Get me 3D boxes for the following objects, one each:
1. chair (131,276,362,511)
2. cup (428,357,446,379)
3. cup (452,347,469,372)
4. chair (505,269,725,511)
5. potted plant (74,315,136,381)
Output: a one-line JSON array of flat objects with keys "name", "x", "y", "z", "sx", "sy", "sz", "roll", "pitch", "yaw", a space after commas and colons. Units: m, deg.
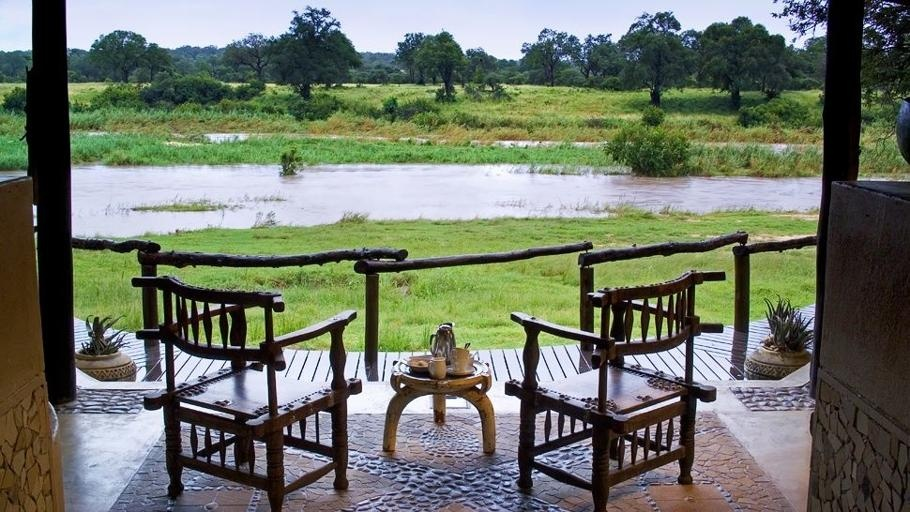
[{"name": "chair", "x": -1.652, "y": 1.055, "z": 6.300, "sx": 1.551, "sy": 1.875, "sz": 0.861, "roll": 1, "pitch": 10, "yaw": 15}, {"name": "cup", "x": -0.148, "y": 0.959, "z": 6.660, "sx": 0.188, "sy": 0.161, "sz": 0.133, "roll": 0, "pitch": 3, "yaw": 0}, {"name": "cup", "x": 0.064, "y": 0.909, "z": 6.809, "sx": 0.151, "sy": 0.160, "sz": 0.207, "roll": -1, "pitch": -3, "yaw": 1}, {"name": "chair", "x": 1.337, "y": 1.049, "z": 6.413, "sx": 1.448, "sy": 1.847, "sz": 1.095, "roll": 3, "pitch": 11, "yaw": 26}, {"name": "potted plant", "x": -3.784, "y": 1.006, "z": 8.426, "sx": 0.619, "sy": 0.711, "sz": 0.579, "roll": 2, "pitch": 9, "yaw": -8}]
